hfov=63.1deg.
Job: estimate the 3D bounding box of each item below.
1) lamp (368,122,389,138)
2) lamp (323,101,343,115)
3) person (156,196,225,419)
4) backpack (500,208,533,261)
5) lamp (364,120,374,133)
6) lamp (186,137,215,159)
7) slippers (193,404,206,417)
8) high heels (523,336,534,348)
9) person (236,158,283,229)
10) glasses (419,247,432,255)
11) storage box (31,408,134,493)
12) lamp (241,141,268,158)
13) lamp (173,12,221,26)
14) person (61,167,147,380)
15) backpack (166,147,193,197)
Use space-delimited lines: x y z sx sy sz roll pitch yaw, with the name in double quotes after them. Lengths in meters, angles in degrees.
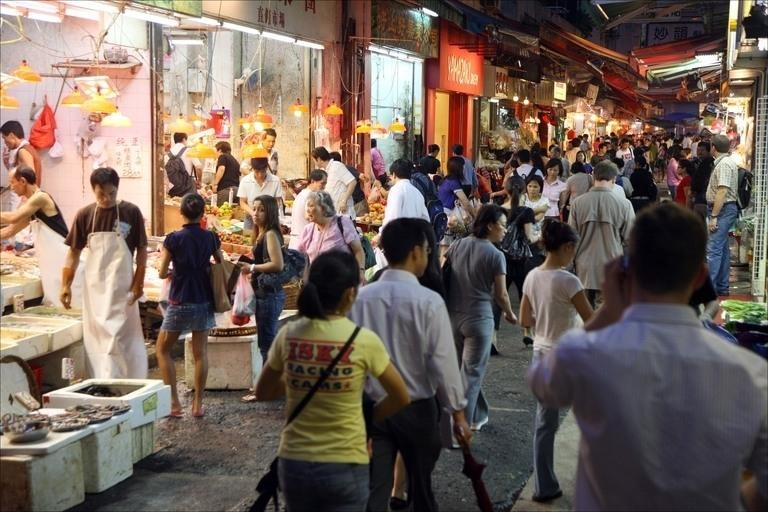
-0.200 -2.852 14.254 0.463 0.299 0.456 -5 12 -26 "lamp"
-1.065 -2.994 12.822 0.422 0.243 0.419 -3 11 -11 "lamp"
-1.926 0.490 6.208 0.703 2.158 0.591 -6 13 -26 "person"
1.648 -0.259 7.837 0.356 0.654 0.652 -2 -3 -3 "backpack"
-0.384 -2.845 13.698 0.262 0.292 0.267 2 3 21 "lamp"
-2.867 -1.650 9.827 0.390 0.214 0.400 5 8 45 "lamp"
-1.850 1.543 6.189 0.075 0.138 0.143 1 7 5 "slippers"
1.877 1.125 8.229 0.072 0.192 0.086 2 26 22 "high heels"
-1.967 -1.027 9.633 0.545 0.518 1.268 -7 26 -6 "person"
0.236 -0.033 3.763 0.058 0.060 0.018 1 -3 -26 "glasses"
-2.417 1.514 5.171 0.590 0.573 0.602 1 8 17 "storage box"
-1.978 -1.614 9.747 0.363 0.174 0.370 2 7 19 "lamp"
-2.948 -3.712 9.767 0.494 0.112 0.940 1 12 4 "lamp"
-2.794 0.203 6.239 0.786 2.117 0.495 -4 12 -16 "person"
-3.792 -1.561 11.529 0.489 0.903 0.370 -4 12 -17 "backpack"
